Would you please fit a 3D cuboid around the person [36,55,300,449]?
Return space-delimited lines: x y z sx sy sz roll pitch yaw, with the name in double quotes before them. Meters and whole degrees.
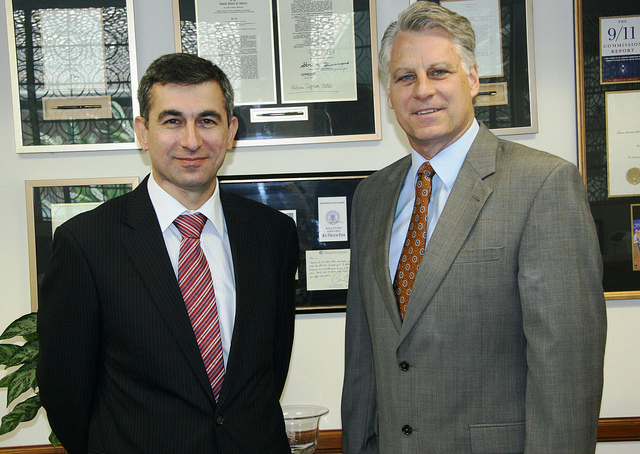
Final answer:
"person" -0.599 0.114 2.546 1.033 1.531 0.474 -5 5 -6

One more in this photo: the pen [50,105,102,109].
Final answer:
"pen" -1.191 -0.578 3.184 0.174 0.021 0.014 -2 4 -2

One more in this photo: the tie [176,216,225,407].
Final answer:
"tie" -0.456 0.301 2.485 0.141 0.681 0.250 -5 5 -12

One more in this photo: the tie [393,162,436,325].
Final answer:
"tie" 0.372 0.057 2.495 0.067 0.591 0.147 29 -27 -36
